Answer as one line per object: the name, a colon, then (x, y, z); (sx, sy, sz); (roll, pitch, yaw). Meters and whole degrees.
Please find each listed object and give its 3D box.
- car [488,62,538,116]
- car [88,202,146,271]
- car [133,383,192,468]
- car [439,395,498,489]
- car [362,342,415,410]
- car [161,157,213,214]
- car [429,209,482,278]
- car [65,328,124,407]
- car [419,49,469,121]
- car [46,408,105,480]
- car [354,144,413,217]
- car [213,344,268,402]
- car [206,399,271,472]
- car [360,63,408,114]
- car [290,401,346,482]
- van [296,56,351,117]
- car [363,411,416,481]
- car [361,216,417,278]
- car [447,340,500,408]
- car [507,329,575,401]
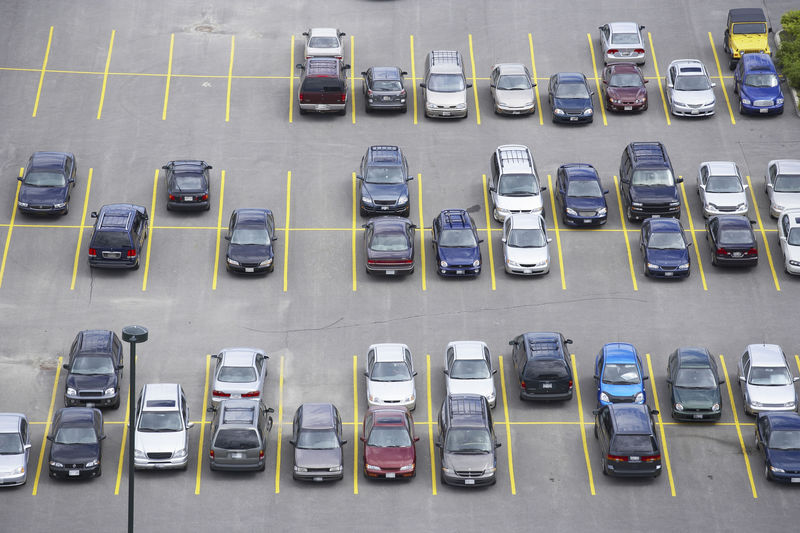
car: (5.984, -9.260, 65.044); (2.366, 1.679, 2.433); (0, 42, 3)
car: (-13.280, -1.852, 57.676); (2.653, 1.919, 5.306); (3, 30, -11)
car: (-9.752, 6.425, 49.733); (2.333, 1.904, 5.181); (3, 19, -9)
car: (2.658, 6.847, 49.113); (2.429, 1.967, 4.941); (2, 24, 2)
car: (-0.449, 4.575, 51.957); (2.069, 1.374, 4.313); (1, 24, 0)
car: (-10.729, -4.669, 60.929); (2.480, 1.468, 4.803); (-1, 10, -12)
car: (2.640, -1.195, 57.535); (2.209, 1.874, 4.718); (-2, 26, -1)
car: (-12.979, 4.291, 51.738); (2.204, 1.873, 4.743); (2, 22, -12)
car: (2.388, -9.567, 65.435); (2.084, 1.521, 3.943); (-1, 46, 1)
car: (-12.969, 6.786, 49.003); (2.038, 1.373, 4.336); (1, 25, -13)
car: (-0.864, -4.337, 60.054); (1.900, 1.524, 3.978); (-1, 32, -1)
car: (-6.909, 4.490, 52.402); (2.166, 1.514, 4.810); (1, 21, -5)
car: (-6.587, 6.605, 49.866); (2.469, 2.201, 4.591); (1, 23, -5)
car: (-0.824, -9.272, 65.043); (2.271, 1.750, 2.221); (-4, 42, -1)
car: (-3.357, 6.945, 48.990); (2.059, 1.452, 4.058); (-1, 28, -8)
van: (-4.045, -9.707, 66.311); (2.880, 2.295, 5.186); (-1, 26, -3)
car: (-0.487, 6.813, 49.042); (2.148, 1.374, 3.938); (2, 28, -1)
car: (-0.523, -1.225, 57.549); (2.397, 1.593, 5.003); (1, 31, 3)
car: (2.951, 4.506, 52.132); (2.264, 1.624, 5.125); (-1, 20, 0)
car: (6.146, 3.989, 52.931); (2.789, 2.030, 5.409); (-2, 23, 3)
